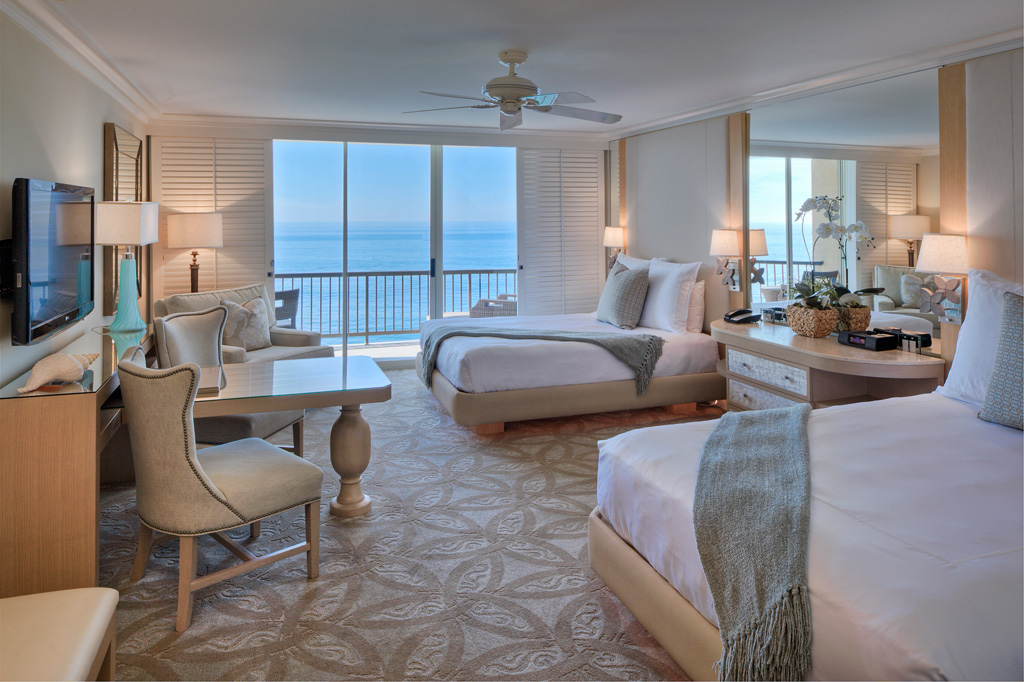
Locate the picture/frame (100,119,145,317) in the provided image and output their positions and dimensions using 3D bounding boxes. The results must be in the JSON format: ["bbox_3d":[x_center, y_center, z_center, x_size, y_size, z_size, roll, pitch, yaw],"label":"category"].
[{"bbox_3d":[-3.380,-1.056,5.725,0.078,1.536,1.402,2,13,-24],"label":"picture/frame"}]

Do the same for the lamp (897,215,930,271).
[{"bbox_3d":[2.837,-0.687,4.748,0.231,0.343,0.227,4,-5,-26],"label":"lamp"}]

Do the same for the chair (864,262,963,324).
[{"bbox_3d":[2.801,-0.335,4.593,0.359,0.316,0.375,2,-1,-26],"label":"chair"}]

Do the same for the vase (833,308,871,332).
[{"bbox_3d":[2.507,-0.152,4.922,0.206,0.164,0.195,1,0,0],"label":"vase"}]

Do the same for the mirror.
[{"bbox_3d":[2.565,-1.180,5.065,0.139,1.856,1.976,-3,0,-33],"label":"mirror"}]

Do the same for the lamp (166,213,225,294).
[{"bbox_3d":[-3.159,-0.899,6.679,0.484,0.790,0.487,-4,10,-20],"label":"lamp"}]

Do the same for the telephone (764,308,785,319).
[{"bbox_3d":[2.248,-0.238,5.733,0.094,0.057,0.124,-1,0,-29],"label":"telephone"}]

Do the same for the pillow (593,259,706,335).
[{"bbox_3d":[1.369,-0.413,6.434,0.813,0.505,0.278,5,-30,47],"label":"pillow"}]

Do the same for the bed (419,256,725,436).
[{"bbox_3d":[0.572,0.170,5.945,2.127,0.986,1.829,0,2,-8],"label":"bed"}]

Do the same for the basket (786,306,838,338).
[{"bbox_3d":[2.274,-0.150,5.014,0.232,0.164,0.279,0,0,-9],"label":"basket"}]

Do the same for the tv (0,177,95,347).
[{"bbox_3d":[-2.690,-0.462,3.829,0.216,0.917,1.114,0,6,-16],"label":"tv"}]

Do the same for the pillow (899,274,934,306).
[{"bbox_3d":[2.809,-0.354,4.608,0.117,0.274,0.241,2,-3,-4],"label":"pillow"}]

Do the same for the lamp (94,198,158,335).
[{"bbox_3d":[-2.794,-0.594,4.860,0.275,0.699,0.239,-9,9,-18],"label":"lamp"}]

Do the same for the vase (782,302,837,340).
[{"bbox_3d":[2.252,-0.157,5.046,0.251,0.238,0.367,-2,5,-17],"label":"vase"}]

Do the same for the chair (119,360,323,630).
[{"bbox_3d":[-1.588,0.713,3.612,0.980,1.187,0.921,-1,6,-34],"label":"chair"}]

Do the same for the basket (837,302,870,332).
[{"bbox_3d":[2.517,-0.182,4.905,0.220,0.204,0.211,0,0,-12],"label":"basket"}]

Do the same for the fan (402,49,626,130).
[{"bbox_3d":[0.100,-1.843,5.090,1.105,0.401,1.385,0,8,7],"label":"fan"}]
